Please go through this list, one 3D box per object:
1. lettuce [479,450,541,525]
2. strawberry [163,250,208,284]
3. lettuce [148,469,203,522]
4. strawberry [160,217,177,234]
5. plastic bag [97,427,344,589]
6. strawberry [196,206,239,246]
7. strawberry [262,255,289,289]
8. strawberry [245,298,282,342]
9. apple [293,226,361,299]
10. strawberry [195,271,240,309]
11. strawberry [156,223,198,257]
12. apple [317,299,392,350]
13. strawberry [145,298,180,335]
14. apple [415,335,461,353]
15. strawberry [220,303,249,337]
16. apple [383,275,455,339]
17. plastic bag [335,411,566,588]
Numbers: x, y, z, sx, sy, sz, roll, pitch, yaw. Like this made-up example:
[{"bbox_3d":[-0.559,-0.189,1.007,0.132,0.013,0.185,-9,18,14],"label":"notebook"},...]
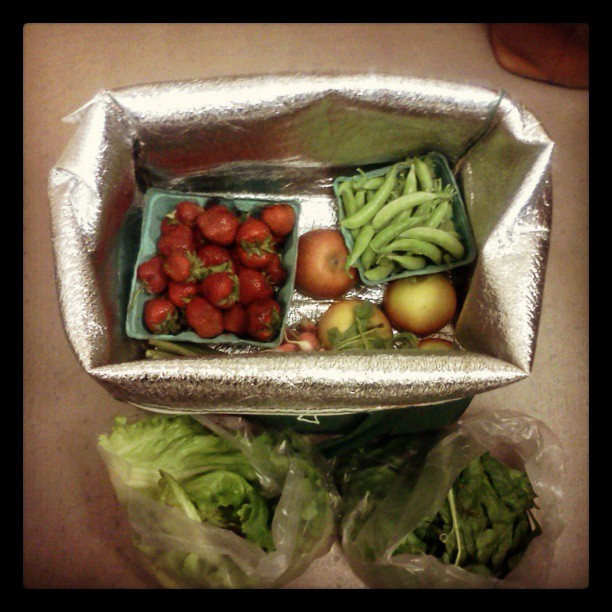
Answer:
[{"bbox_3d":[0.345,0.303,1.066,0.118,0.027,0.108,16,71,4],"label":"lettuce"},{"bbox_3d":[-0.206,-0.066,1.099,0.069,0.045,0.042,-15,63,-9],"label":"strawberry"},{"bbox_3d":[-0.213,0.320,1.084,0.099,0.031,0.086,9,70,-19],"label":"lettuce"},{"bbox_3d":[-0.249,-0.144,1.155,0.031,0.010,0.029,-1,85,12],"label":"strawberry"},{"bbox_3d":[-0.110,0.388,1.073,0.290,0.152,0.333,-14,68,-17],"label":"plastic bag"},{"bbox_3d":[-0.152,-0.138,1.113,0.067,0.042,0.065,-22,88,19],"label":"strawberry"},{"bbox_3d":[-0.056,-0.060,1.159,0.039,0.037,0.043,-26,50,11],"label":"strawberry"},{"bbox_3d":[-0.075,0.022,1.174,0.079,0.066,0.068,7,33,15],"label":"strawberry"},{"bbox_3d":[0.030,-0.089,1.268,0.131,0.133,0.124,12,70,-32],"label":"apple"},{"bbox_3d":[-0.150,-0.029,1.147,0.078,0.058,0.062,10,49,13],"label":"strawberry"},{"bbox_3d":[-0.223,-0.112,1.116,0.061,0.035,0.056,7,88,3],"label":"strawberry"},{"bbox_3d":[0.092,0.024,1.251,0.108,0.055,0.103,-31,104,5],"label":"apple"},{"bbox_3d":[-0.251,0.016,1.128,0.043,0.039,0.045,-38,93,28],"label":"strawberry"},{"bbox_3d":[0.245,0.074,1.186,0.058,0.031,0.041,7,78,6],"label":"apple"},{"bbox_3d":[-0.130,0.030,1.164,0.052,0.053,0.047,15,65,-8],"label":"strawberry"},{"bbox_3d":[0.231,-0.004,1.278,0.118,0.121,0.116,-39,115,-33],"label":"apple"},{"bbox_3d":[0.229,0.324,1.107,0.330,0.171,0.380,0,90,2],"label":"plastic bag"}]
